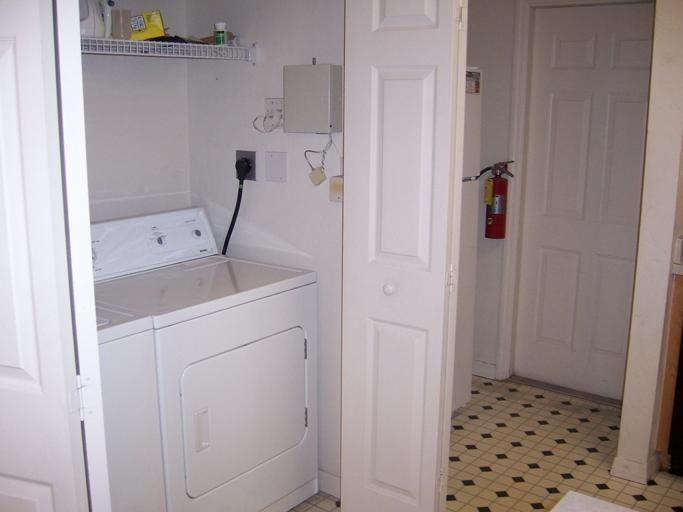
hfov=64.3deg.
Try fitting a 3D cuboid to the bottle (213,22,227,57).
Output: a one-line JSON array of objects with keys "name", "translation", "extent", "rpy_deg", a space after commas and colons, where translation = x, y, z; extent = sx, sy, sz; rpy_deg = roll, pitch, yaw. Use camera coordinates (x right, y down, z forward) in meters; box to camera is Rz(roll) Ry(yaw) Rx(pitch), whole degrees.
[{"name": "bottle", "translation": [-0.601, -1.079, 2.703], "extent": [0.067, 0.163, 0.132], "rpy_deg": [-4, 16, -12]}]

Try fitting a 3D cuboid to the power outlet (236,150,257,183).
[{"name": "power outlet", "translation": [-0.518, -0.487, 2.922], "extent": [0.137, 0.162, 0.045], "rpy_deg": [13, 20, 40]}]

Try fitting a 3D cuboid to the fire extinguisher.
[{"name": "fire extinguisher", "translation": [1.018, -0.390, 3.762], "extent": [0.366, 0.527, 0.125], "rpy_deg": [0, 15, 1]}]
